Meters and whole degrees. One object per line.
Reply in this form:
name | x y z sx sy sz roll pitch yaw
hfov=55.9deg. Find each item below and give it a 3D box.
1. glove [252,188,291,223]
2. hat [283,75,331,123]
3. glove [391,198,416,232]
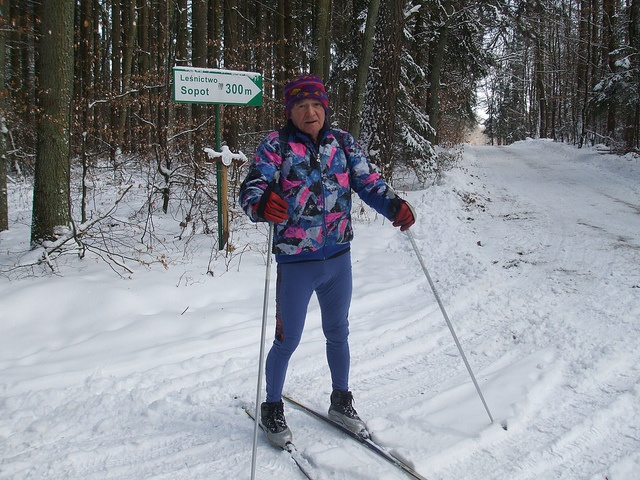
glove | -0.580 -0.384 7.182 0.429 0.407 0.204 -2 13 -11
hat | -0.187 -1.753 7.554 0.425 0.507 0.489 -4 3 -5
glove | 1.074 -0.340 7.635 0.343 0.362 0.138 36 29 7
